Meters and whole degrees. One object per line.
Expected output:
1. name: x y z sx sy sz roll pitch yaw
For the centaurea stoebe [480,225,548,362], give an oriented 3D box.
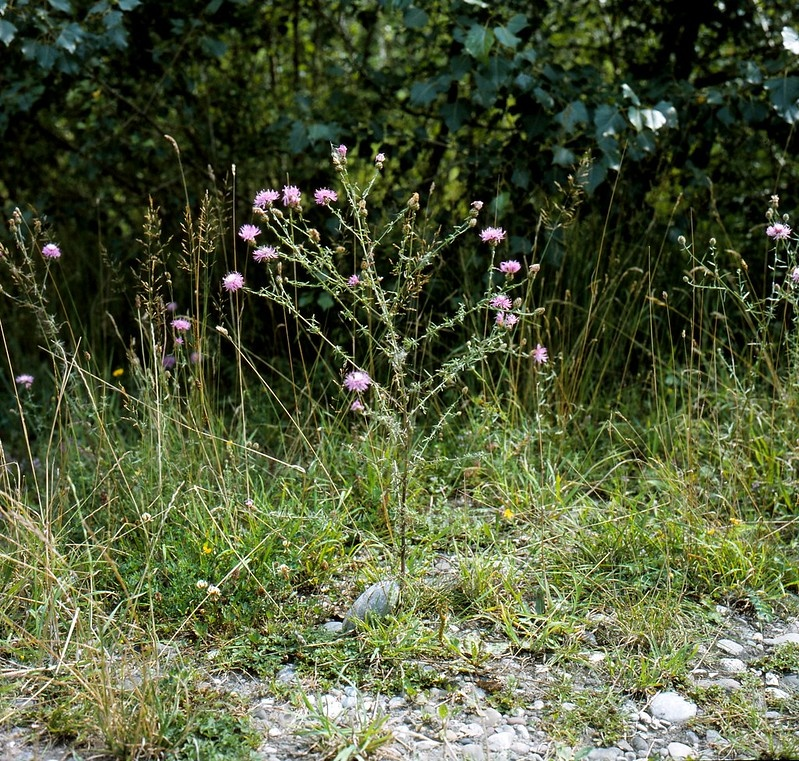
1. centaurea stoebe: 0.447 -0.319 3.872 0.154 0.571 0.141 -20 -9 23
